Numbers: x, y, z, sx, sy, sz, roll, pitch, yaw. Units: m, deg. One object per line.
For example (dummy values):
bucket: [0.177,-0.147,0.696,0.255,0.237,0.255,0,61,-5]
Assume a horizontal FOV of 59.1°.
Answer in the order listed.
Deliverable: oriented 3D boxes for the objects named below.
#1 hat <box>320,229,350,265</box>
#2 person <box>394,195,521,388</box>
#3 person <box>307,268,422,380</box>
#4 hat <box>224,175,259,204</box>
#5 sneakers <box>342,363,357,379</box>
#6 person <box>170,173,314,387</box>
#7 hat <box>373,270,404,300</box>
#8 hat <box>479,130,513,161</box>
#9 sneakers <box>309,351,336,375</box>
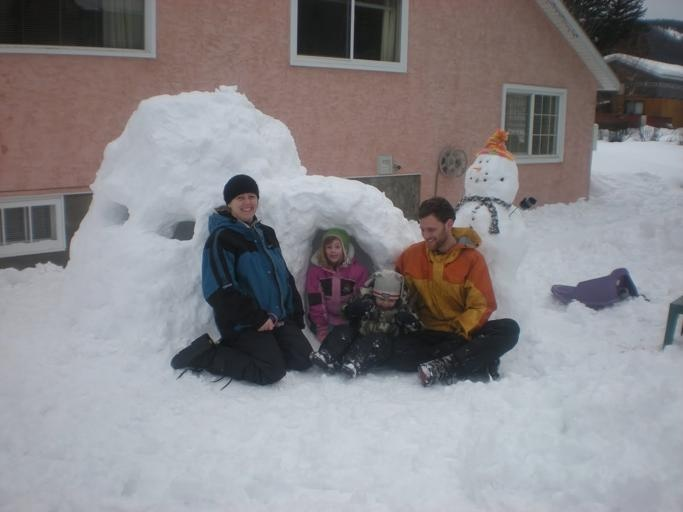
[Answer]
hat: [-0.039,-0.060,4.912,0.227,0.274,0.270,-13,-8,12]
person: [0.748,0.213,4.642,0.883,1.288,0.996,-13,7,-28]
person: [0.241,0.550,4.734,0.663,0.479,1.101,7,26,26]
hat: [-0.763,-0.508,4.600,0.216,0.176,0.220,-2,-4,-12]
sneakers: [0.058,0.834,4.409,0.120,0.126,0.092,3,6,17]
person: [-0.696,0.148,4.452,0.965,1.478,0.584,1,5,-4]
hat: [0.358,0.219,4.681,0.172,0.188,0.232,5,-17,3]
hat: [1.427,-1.025,5.595,0.274,0.314,0.672,3,6,13]
sneakers: [-0.138,0.787,4.466,0.158,0.181,0.154,5,7,34]
